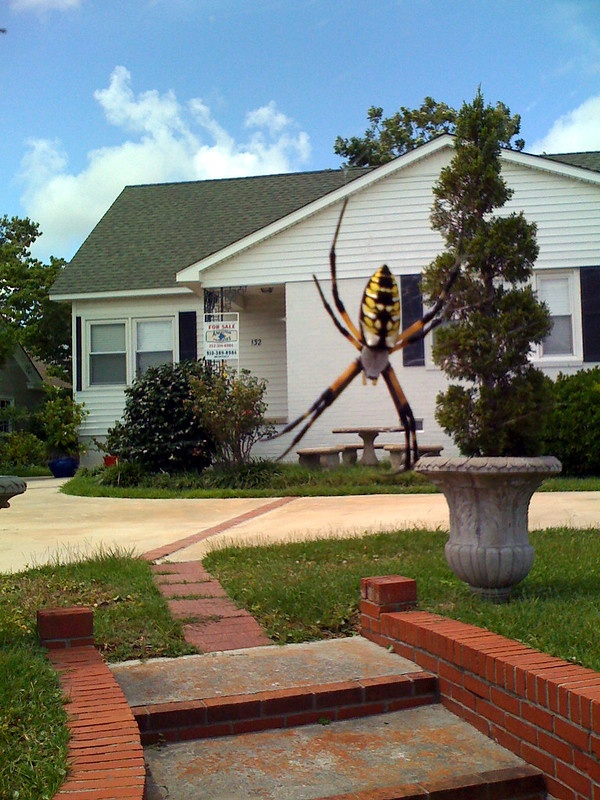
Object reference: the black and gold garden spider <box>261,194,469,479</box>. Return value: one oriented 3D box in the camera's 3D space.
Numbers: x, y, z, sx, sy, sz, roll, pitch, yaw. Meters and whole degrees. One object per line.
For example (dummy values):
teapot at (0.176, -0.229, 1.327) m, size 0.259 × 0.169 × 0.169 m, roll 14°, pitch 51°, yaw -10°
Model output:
black and gold garden spider at (0.709, -0.435, 8.195) m, size 1.856 × 0.723 × 3.014 m, roll 9°, pitch -42°, yaw 9°

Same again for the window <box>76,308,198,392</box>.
window at (-3.177, -1.007, 17.947) m, size 1.796 × 1.084 × 0.085 m, roll -3°, pitch -5°, yaw 9°
